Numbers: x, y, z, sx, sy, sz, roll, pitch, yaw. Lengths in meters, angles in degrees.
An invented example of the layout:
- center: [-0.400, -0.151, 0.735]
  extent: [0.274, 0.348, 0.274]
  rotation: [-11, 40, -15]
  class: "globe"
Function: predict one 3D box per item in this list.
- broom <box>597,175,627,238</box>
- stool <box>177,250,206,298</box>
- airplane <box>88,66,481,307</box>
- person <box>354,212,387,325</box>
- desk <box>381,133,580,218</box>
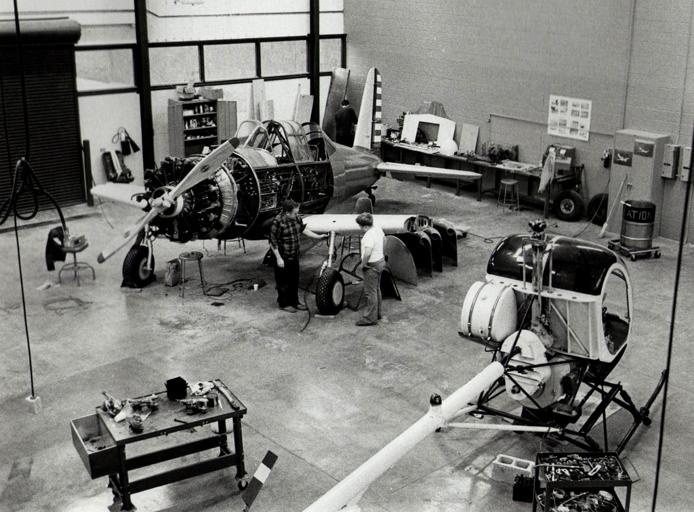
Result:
- center: [5.565, -0.997, 12.904]
  extent: [0.209, 1.467, 0.162]
  rotation: [-3, 28, -46]
  class: "broom"
- center: [-2.801, 0.339, 11.108]
  extent: [0.569, 0.808, 0.577]
  rotation: [-9, 16, -30]
  class: "stool"
- center: [-1.575, -1.820, 13.260]
  extent: [8.210, 5.076, 7.462]
  rotation: [11, 20, 40]
  class: "airplane"
- center: [0.432, 0.156, 9.762]
  extent: [0.610, 1.612, 0.768]
  rotation: [2, 4, 33]
  class: "person"
- center: [3.391, -1.926, 14.902]
  extent: [1.556, 1.367, 5.958]
  rotation: [-12, 19, -37]
  class: "desk"
